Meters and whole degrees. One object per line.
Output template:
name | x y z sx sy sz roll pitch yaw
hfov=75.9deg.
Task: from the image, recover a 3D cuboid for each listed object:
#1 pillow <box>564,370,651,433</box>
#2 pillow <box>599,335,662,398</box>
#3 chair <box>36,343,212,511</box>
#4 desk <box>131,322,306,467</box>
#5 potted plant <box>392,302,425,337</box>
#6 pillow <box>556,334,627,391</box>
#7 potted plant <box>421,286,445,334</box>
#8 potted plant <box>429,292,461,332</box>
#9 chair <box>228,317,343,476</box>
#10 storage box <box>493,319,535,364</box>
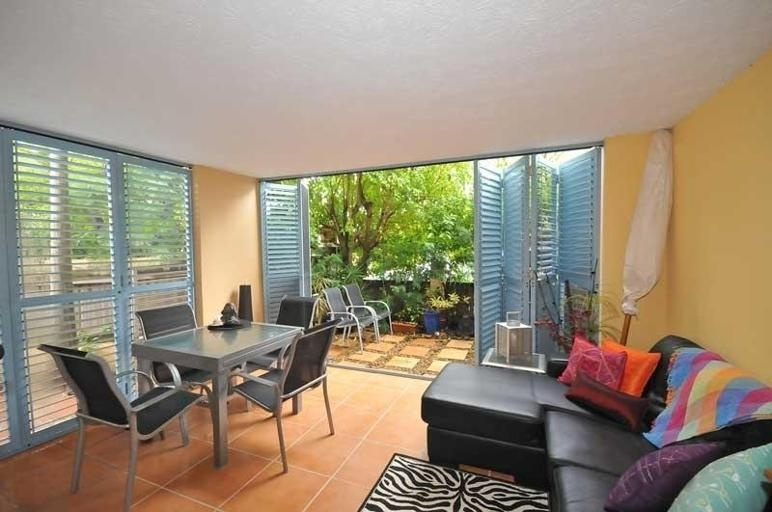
pillow | 1.728 1.132 3.882 0.292 0.163 0.484 -42 33 -23
pillow | 1.979 0.888 3.949 0.149 0.366 0.372 39 -14 -31
chair | -2.096 1.223 4.328 1.070 1.581 1.424 1 3 32
desk | -1.617 1.406 4.712 1.185 1.090 1.563 2 2 25
potted plant | 0.322 1.017 7.906 0.553 0.446 0.515 -1 1 11
pillow | 1.757 0.905 4.120 0.123 0.376 0.397 22 -2 -33
potted plant | 0.721 0.865 7.818 0.329 0.737 0.307 0 2 19
potted plant | 0.920 0.848 7.954 0.692 0.656 0.558 1 5 12
chair | -0.778 1.106 4.745 1.205 1.548 1.037 3 1 22
storage box | 1.242 0.833 4.834 0.385 0.506 0.391 -2 -4 40
